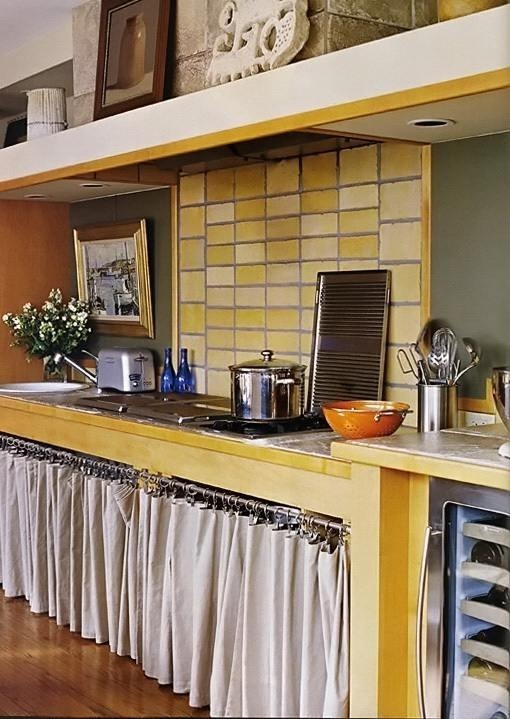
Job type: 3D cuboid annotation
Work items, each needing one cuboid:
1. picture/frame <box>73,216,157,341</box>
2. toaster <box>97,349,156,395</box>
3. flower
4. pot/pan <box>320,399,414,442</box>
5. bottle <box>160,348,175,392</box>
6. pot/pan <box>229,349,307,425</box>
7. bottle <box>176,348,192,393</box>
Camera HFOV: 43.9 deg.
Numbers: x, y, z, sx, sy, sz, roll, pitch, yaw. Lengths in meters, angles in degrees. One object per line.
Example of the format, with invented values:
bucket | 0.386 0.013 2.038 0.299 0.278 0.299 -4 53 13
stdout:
picture/frame | -0.814 -0.469 3.717 0.039 0.623 0.794 -4 5 -39
toaster | -0.715 0.058 3.446 0.193 0.241 0.335 -6 7 -41
flower | -1.227 -0.115 3.868 0.580 0.602 0.519 1 -4 -20
pot/pan | 0.277 0.159 1.630 0.213 0.087 0.211 -1 1 -25
bottle | -0.467 0.060 3.352 0.084 0.229 0.188 -1 1 -8
pot/pan | 0.045 0.108 2.155 0.219 0.198 0.297 0 -1 -34
bottle | -0.374 0.060 3.309 0.084 0.228 0.145 -1 2 -5
